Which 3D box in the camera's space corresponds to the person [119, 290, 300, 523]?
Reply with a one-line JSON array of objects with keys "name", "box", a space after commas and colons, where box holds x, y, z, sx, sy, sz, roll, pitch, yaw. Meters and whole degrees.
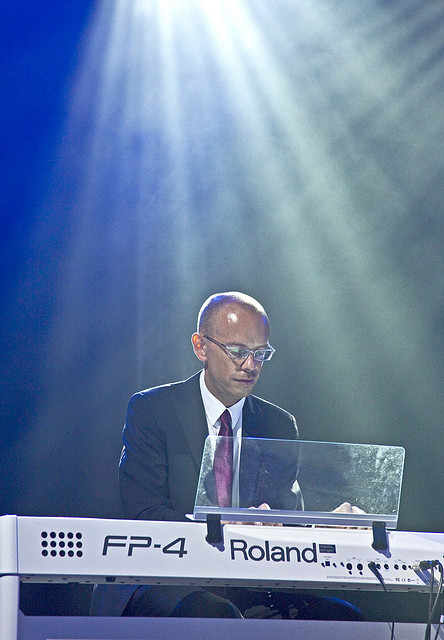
[{"name": "person", "box": [-0.079, 0.299, 3.285, 0.567, 0.760, 0.457, 22, -41, -22]}]
